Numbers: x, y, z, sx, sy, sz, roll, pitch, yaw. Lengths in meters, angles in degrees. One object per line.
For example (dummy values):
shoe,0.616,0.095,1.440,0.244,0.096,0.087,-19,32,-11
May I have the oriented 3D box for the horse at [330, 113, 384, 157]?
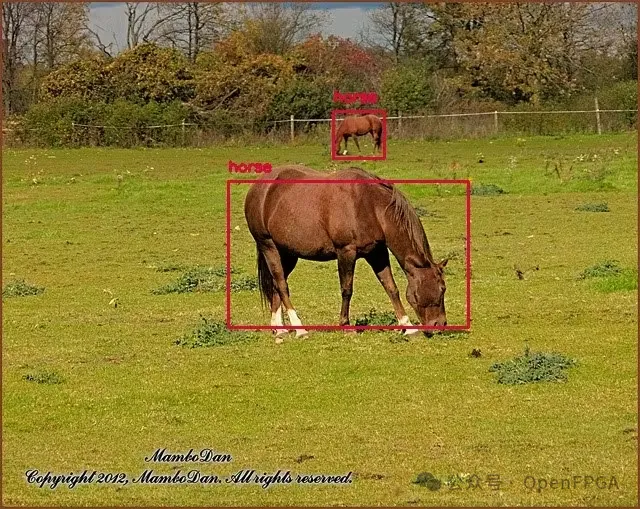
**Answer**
horse,1.649,-5.408,61.528,3.229,1.824,4.288,-3,4,-21
